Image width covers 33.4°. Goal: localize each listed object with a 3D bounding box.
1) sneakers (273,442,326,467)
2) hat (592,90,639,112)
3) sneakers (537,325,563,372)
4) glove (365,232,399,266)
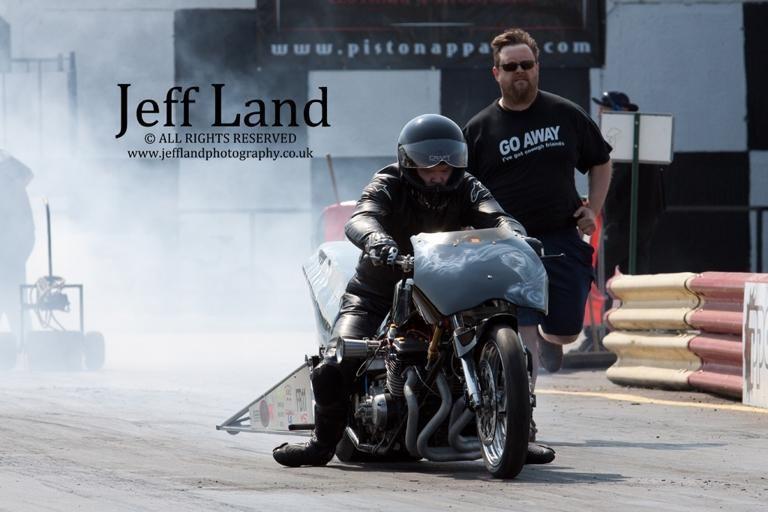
[{"bbox_3d":[-0.678,1.683,10.846,0.476,0.229,0.194,4,-19,2],"label":"sneakers"},{"bbox_3d":[3.186,-2.136,17.925,0.655,0.246,0.445,18,5,36],"label":"hat"},{"bbox_3d":[1.719,0.950,13.301,0.216,0.676,0.275,-4,1,-1],"label":"sneakers"},{"bbox_3d":[-0.028,-0.051,10.319,0.193,0.241,0.298,-6,9,-33],"label":"glove"}]
